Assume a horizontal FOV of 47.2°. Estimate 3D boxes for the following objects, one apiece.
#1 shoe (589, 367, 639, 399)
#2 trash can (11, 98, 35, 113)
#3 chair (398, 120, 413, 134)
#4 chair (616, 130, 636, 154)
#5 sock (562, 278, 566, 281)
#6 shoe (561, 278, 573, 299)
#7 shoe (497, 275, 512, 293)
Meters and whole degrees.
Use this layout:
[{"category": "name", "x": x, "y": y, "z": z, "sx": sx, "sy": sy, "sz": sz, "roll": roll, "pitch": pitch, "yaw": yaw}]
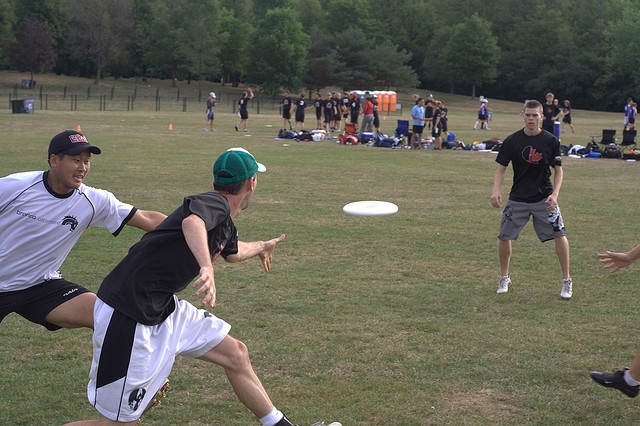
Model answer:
[{"category": "shoe", "x": 3.657, "y": 2.083, "z": 9.108, "sx": 0.577, "sy": 0.451, "sz": 0.289, "roll": 7, "pitch": 14, "yaw": 21}, {"category": "trash can", "x": -17.070, "y": -6.147, "z": 42.468, "sx": 1.084, "sy": 0.569, "sz": 1.014, "roll": -1, "pitch": 3, "yaw": -21}, {"category": "chair", "x": 3.512, "y": -3.565, "z": 30.769, "sx": 0.537, "sy": 0.676, "sz": 0.512, "roll": -2, "pitch": 7, "yaw": -26}, {"category": "chair", "x": 11.503, "y": -2.693, "z": 27.381, "sx": 0.583, "sy": 0.886, "sz": 2.133, "roll": 7, "pitch": 13, "yaw": 22}, {"category": "sock", "x": 3.799, "y": 1.034, "z": 11.392, "sx": 0.084, "sy": 0.020, "sz": 0.084, "roll": 3, "pitch": 5, "yaw": 34}, {"category": "shoe", "x": 3.816, "y": 1.153, "z": 11.293, "sx": 0.158, "sy": 0.275, "sz": 0.233, "roll": 6, "pitch": 13, "yaw": 18}, {"category": "shoe", "x": 2.923, "y": 1.096, "z": 11.569, "sx": 0.177, "sy": 0.241, "sz": 0.400, "roll": 6, "pitch": 13, "yaw": 18}]
